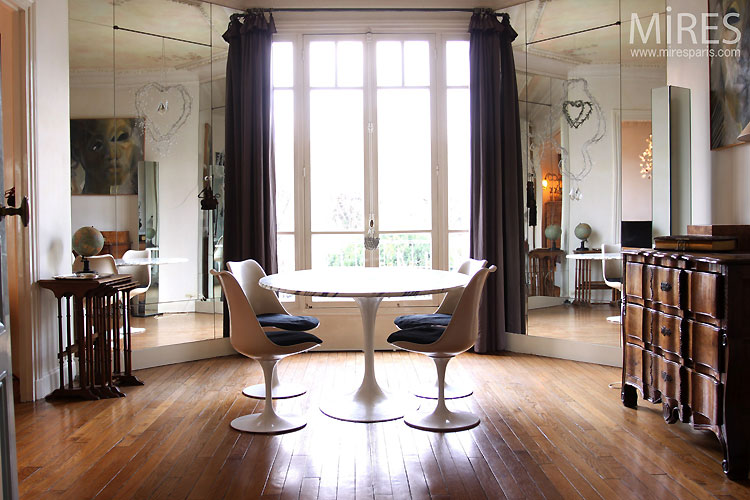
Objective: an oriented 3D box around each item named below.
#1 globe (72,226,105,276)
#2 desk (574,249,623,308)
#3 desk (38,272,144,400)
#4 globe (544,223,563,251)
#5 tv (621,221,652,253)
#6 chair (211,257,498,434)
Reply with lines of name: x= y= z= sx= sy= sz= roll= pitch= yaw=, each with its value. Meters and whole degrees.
globe: x=-2.478 y=0.002 z=4.898 sx=0.256 sy=0.392 sz=0.255 roll=3 pitch=-2 yaw=-31
desk: x=2.176 y=0.299 z=5.496 sx=0.371 sy=0.358 sz=0.281 roll=14 pitch=2 yaw=10
desk: x=-2.337 y=0.721 z=5.212 sx=0.872 sy=1.258 sz=0.955 roll=-1 pitch=-1 yaw=0
globe: x=1.766 y=-0.145 z=5.623 sx=0.195 sy=0.295 sz=0.201 roll=-1 pitch=-3 yaw=2
tv: x=2.250 y=-0.107 z=4.877 sx=0.275 sy=0.271 sz=0.134 roll=1 pitch=1 yaw=9
chair: x=-0.283 y=0.601 z=4.398 sx=1.580 sy=0.940 sz=1.307 roll=0 pitch=2 yaw=-4
